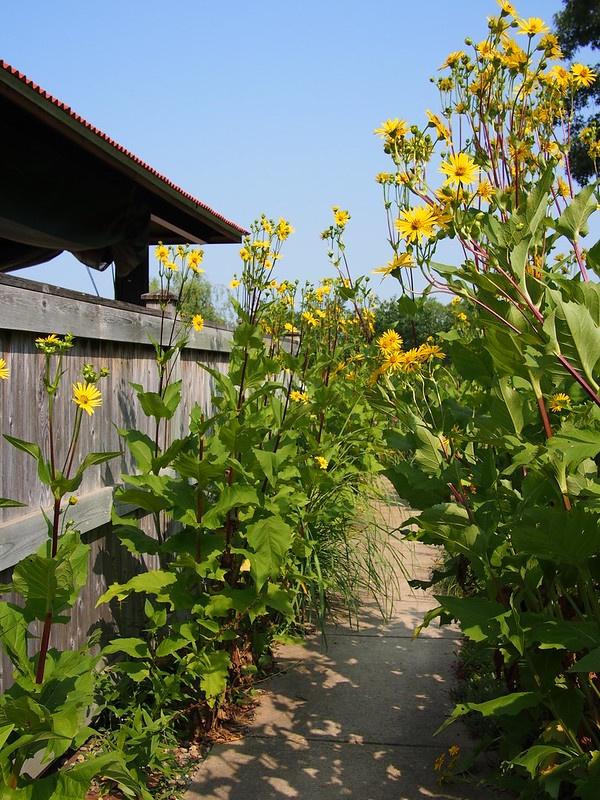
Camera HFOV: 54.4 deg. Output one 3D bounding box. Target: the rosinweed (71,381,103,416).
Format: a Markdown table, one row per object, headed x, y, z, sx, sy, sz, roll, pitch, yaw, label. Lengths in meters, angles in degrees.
| x | y | z | sx | sy | sz | roll | pitch | yaw | label |
| --- | --- | --- | --- | --- | --- | --- | --- | --- | --- |
| -0.605 | -0.006 | 1.647 | 0.092 | 0.085 | 0.033 | 18 | -42 | -26 | rosinweed |
